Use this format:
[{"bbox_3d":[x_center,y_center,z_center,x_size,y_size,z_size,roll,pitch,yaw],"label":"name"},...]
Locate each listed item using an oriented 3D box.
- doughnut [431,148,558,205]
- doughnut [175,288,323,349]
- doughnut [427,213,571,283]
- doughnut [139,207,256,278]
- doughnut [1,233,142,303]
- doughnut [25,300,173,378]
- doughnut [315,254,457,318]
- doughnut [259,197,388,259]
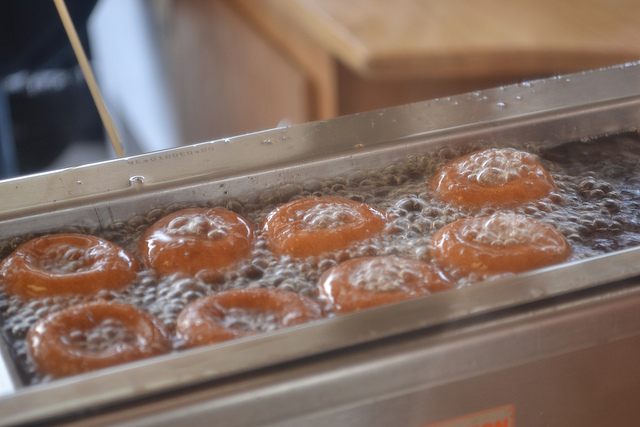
[{"bbox_3d":[0.236,-0.048,0.910,0.189,0.051,0.198,-3,9,14],"label":"doughnut"},{"bbox_3d":[-0.088,0.117,0.756,0.176,0.060,0.179,-6,-11,34],"label":"doughnut"},{"bbox_3d":[0.228,0.036,0.792,0.192,0.053,0.184,-3,10,9],"label":"doughnut"},{"bbox_3d":[-0.155,0.027,0.810,0.157,0.043,0.152,-6,33,-3],"label":"doughnut"},{"bbox_3d":[-0.282,0.061,0.746,0.152,0.039,0.087,-6,30,-8],"label":"doughnut"},{"bbox_3d":[-0.236,0.134,0.701,0.161,0.050,0.155,-1,10,-23],"label":"doughnut"},{"bbox_3d":[0.072,0.074,0.714,0.158,0.036,0.082,-3,29,-2],"label":"doughnut"},{"bbox_3d":[0.005,0.016,0.798,0.157,0.034,0.088,-5,29,-6],"label":"doughnut"}]
